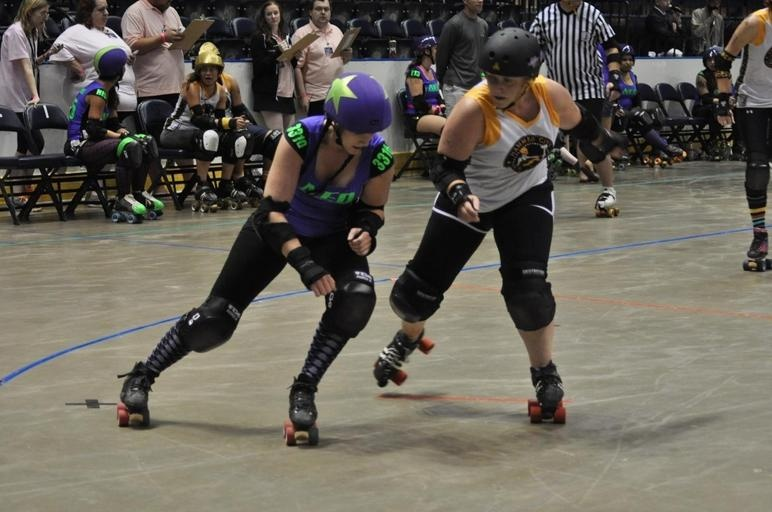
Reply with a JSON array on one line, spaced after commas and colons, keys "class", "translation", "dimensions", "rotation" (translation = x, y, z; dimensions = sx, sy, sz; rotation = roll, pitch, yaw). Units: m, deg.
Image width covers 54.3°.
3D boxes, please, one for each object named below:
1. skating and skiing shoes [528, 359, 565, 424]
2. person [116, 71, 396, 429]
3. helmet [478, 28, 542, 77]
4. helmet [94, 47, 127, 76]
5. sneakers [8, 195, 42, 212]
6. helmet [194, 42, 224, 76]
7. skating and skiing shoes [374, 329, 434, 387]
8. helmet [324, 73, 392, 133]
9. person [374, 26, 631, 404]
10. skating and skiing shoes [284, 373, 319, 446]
[{"class": "skating and skiing shoes", "translation": [0.689, 0.614, 3.190], "dimensions": [0.145, 0.157, 0.282], "rotation": [-1, 3, 3]}, {"class": "person", "translation": [-0.486, -0.005, 3.165], "dimensions": [1.053, 1.480, 0.514], "rotation": [-1, 14, 0]}, {"class": "helmet", "translation": [0.525, -0.860, 3.183], "dimensions": [0.248, 0.210, 0.256], "rotation": [1, 13, 7]}, {"class": "helmet", "translation": [-2.897, -2.054, 7.989], "dimensions": [0.309, 0.312, 0.201], "rotation": [-5, 14, -18]}, {"class": "sneakers", "translation": [-4.463, -0.668, 9.434], "dimensions": [0.386, 0.104, 0.234], "rotation": [11, -1, -6]}, {"class": "helmet", "translation": [-2.041, -2.295, 8.724], "dimensions": [0.316, 0.350, 0.253], "rotation": [-5, 14, -14]}, {"class": "skating and skiing shoes", "translation": [0.063, 0.462, 3.671], "dimensions": [0.204, 0.174, 0.352], "rotation": [33, 57, 19]}, {"class": "helmet", "translation": [-0.107, -0.640, 3.122], "dimensions": [0.226, 0.204, 0.281], "rotation": [-8, 27, -26]}, {"class": "person", "translation": [0.515, -0.194, 3.497], "dimensions": [0.817, 1.634, 0.725], "rotation": [5, 16, 25]}, {"class": "skating and skiing shoes", "translation": [-0.352, 0.640, 3.139], "dimensions": [0.143, 0.230, 0.239], "rotation": [-3, 14, -7]}]
